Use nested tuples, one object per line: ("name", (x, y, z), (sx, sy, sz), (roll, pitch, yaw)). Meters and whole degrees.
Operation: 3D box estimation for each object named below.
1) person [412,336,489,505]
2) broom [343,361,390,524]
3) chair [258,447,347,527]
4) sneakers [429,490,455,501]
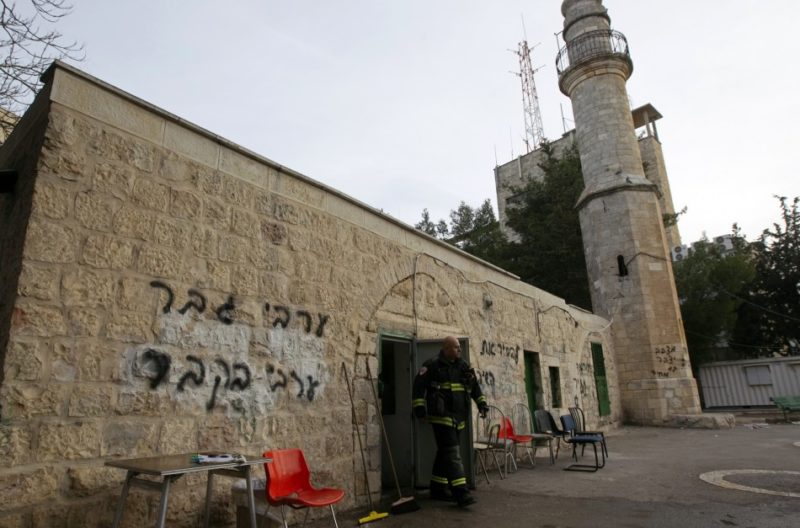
("person", (0.754, 2.471, 8.867), (1.164, 2.491, 0.834), (0, -18, -13))
("broom", (-0.557, 2.622, 8.470), (0.567, 2.275, 0.968), (-1, -18, -8))
("chair", (-1.272, 2.878, 7.171), (1.072, 1.210, 0.970), (-18, -23, 38))
("sneakers", (0.657, 3.607, 8.736), (0.349, 0.175, 0.200), (-7, -18, 7))
